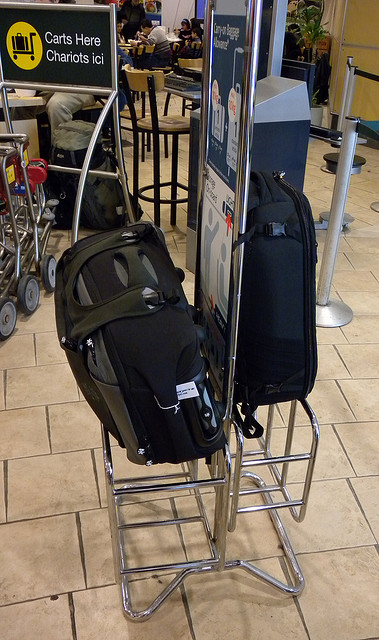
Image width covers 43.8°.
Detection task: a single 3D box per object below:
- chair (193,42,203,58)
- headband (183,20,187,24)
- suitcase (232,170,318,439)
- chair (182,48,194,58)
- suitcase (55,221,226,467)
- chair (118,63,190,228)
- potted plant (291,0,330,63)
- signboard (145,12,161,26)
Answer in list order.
[{"bbox_3d":[0.132,-4.893,8.634,0.146,0.244,0.289,2,30,-4],"label":"chair"},{"bbox_3d":[-0.118,-6.702,10.701,0.045,0.024,0.065,-22,66,-39],"label":"headband"},{"bbox_3d":[0.176,-0.004,0.962,0.186,0.496,0.285,9,29,9],"label":"suitcase"},{"bbox_3d":[-0.036,-4.915,8.751,0.184,0.151,0.119,-8,31,-20],"label":"chair"},{"bbox_3d":[-0.123,0.005,0.908,0.251,0.231,0.563,-9,36,-16],"label":"suitcase"},{"bbox_3d":[-0.193,-1.231,3.644,0.458,1.154,0.482,2,21,-5],"label":"chair"},{"bbox_3d":[1.683,-4.019,6.622,0.546,0.753,1.492,10,31,11],"label":"potted plant"},{"bbox_3d":[-1.022,-8.388,13.255,0.253,0.250,0.859,18,33,23],"label":"signboard"}]
